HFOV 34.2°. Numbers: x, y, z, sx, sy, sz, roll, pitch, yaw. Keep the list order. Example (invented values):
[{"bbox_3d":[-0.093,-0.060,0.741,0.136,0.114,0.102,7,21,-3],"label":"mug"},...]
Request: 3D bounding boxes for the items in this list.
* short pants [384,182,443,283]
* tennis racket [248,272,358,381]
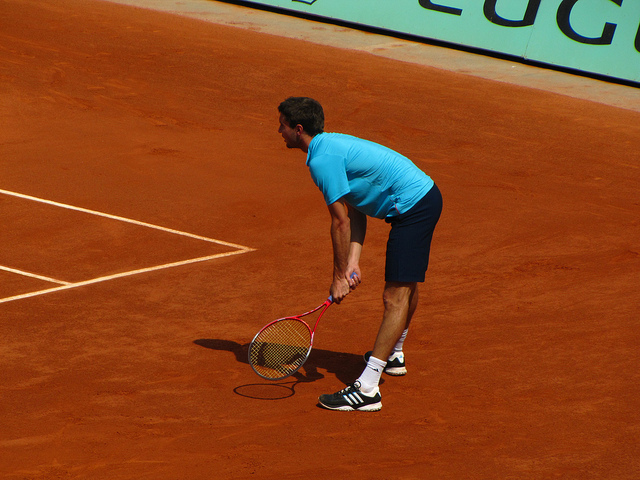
[{"bbox_3d":[0.915,-0.039,10.422,0.522,0.959,0.519,14,26,-14],"label":"short pants"},{"bbox_3d":[-0.170,0.977,11.207,0.461,1.278,0.106,51,-6,13],"label":"tennis racket"}]
